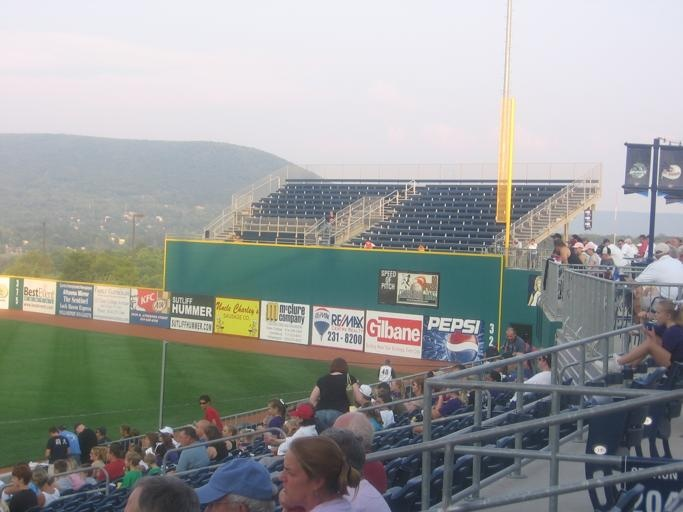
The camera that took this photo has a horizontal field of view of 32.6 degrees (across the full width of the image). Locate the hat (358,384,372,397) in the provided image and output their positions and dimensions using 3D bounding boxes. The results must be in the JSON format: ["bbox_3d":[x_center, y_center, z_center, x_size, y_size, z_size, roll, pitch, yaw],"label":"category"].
[{"bbox_3d":[0.597,3.476,29.892,0.268,0.196,0.433,41,-5,15],"label":"hat"}]

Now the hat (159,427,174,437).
[{"bbox_3d":[-4.737,4.749,31.502,0.425,0.235,0.302,4,-3,19],"label":"hat"}]

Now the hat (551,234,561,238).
[{"bbox_3d":[6.459,-0.608,35.032,0.203,0.149,0.299,-4,7,-44],"label":"hat"}]

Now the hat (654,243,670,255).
[{"bbox_3d":[7.863,-0.189,28.716,0.240,0.256,0.319,-4,17,-32],"label":"hat"}]

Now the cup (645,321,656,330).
[{"bbox_3d":[7.205,1.632,27.314,0.241,0.241,0.179,-11,6,-2],"label":"cup"}]
